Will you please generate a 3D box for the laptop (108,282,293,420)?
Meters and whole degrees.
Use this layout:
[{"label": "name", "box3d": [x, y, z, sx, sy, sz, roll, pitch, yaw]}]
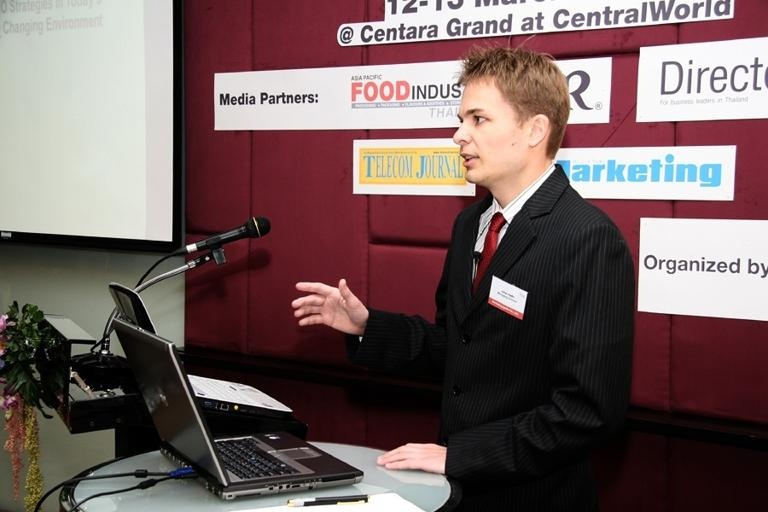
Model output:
[{"label": "laptop", "box3d": [-0.685, 0.260, 2.208, 0.532, 0.408, 0.586, 6, -1, -33]}]
